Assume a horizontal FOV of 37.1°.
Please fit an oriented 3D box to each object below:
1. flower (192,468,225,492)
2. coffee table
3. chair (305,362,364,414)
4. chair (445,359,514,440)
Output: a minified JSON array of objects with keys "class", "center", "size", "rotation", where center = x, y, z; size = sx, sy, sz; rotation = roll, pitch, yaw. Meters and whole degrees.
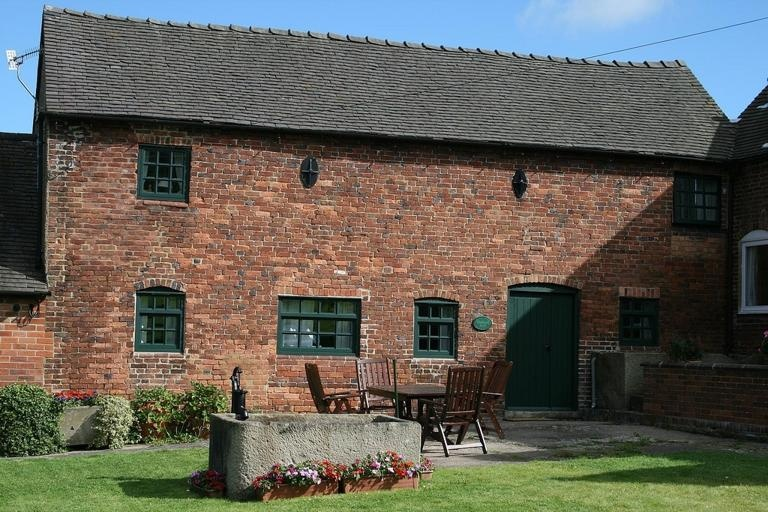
[{"class":"flower","center":[-3.117,3.977,20.329],"size":[0.416,0.286,0.414],"rotation":[4,-6,-2]},{"class":"coffee table","center":[0.514,3.319,23.928],"size":[1.303,0.895,1.450],"rotation":[2,-4,-20]},{"class":"chair","center":[-1.033,2.890,24.823],"size":[1.373,1.479,1.066],"rotation":[-1,-2,-13]},{"class":"chair","center":[2.264,3.184,25.308],"size":[1.624,2.259,1.653],"rotation":[0,-9,-3]}]
